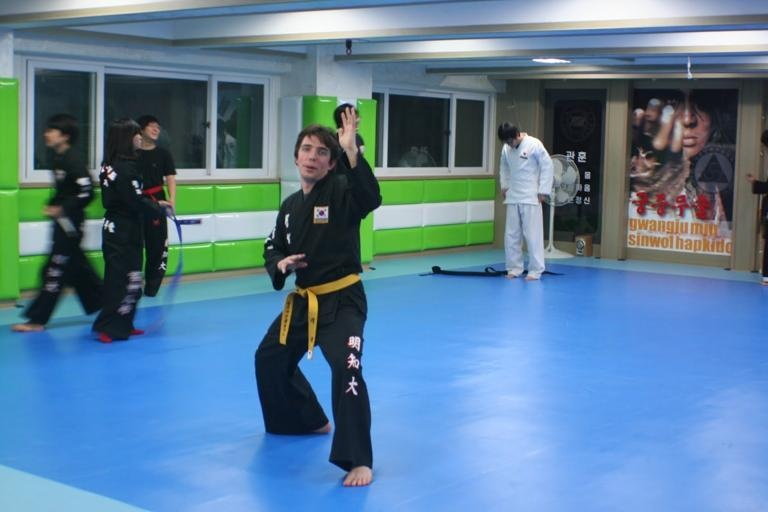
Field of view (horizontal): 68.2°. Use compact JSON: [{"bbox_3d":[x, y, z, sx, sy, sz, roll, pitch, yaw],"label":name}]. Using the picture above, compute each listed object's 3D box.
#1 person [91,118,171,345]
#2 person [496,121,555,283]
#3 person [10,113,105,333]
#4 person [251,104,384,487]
[{"bbox_3d":[-2.673,-0.262,5.792,0.651,2.229,0.453,-4,9,-28],"label":"person"},{"bbox_3d":[2.290,-0.896,9.341,0.846,2.516,0.641,3,9,15],"label":"person"},{"bbox_3d":[-3.383,-0.331,5.899,0.718,2.230,0.308,-4,9,-27],"label":"person"},{"bbox_3d":[-0.367,0.199,3.433,0.596,2.165,0.950,-5,10,-35],"label":"person"}]
